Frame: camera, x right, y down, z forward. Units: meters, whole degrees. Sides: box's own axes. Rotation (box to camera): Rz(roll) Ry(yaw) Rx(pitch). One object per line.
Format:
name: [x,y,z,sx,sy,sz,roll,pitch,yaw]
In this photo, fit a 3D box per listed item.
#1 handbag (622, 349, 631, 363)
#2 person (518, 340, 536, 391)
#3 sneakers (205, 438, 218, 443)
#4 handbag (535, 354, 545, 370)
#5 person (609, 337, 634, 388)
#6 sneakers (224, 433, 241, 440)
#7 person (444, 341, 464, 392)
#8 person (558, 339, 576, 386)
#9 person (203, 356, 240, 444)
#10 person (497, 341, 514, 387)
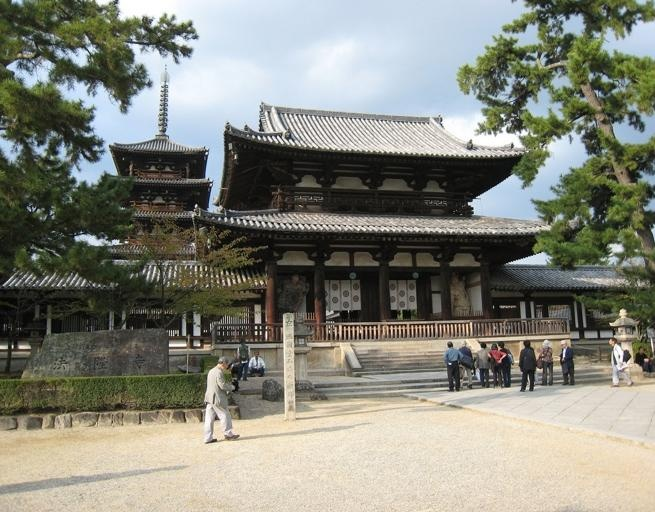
handbag: [10.789,3.611,21.430,0.160,0.513,0.355,0,-3,-10]
person: [6.488,3.546,19.371,0.527,1.615,1.448,-5,-11,19]
sneakers: [-2.550,4.089,13.202,0.197,0.090,0.355,-8,-12,31]
handbag: [7.268,3.616,20.323,0.161,0.480,0.331,-3,-5,24]
person: [10.167,3.639,20.646,0.663,1.635,2.663,-6,-11,25]
sneakers: [-2.144,4.069,13.395,0.358,0.174,0.122,2,-5,-16]
person: [4.159,3.633,19.557,0.494,1.567,0.961,-4,-10,15]
person: [8.367,3.699,20.790,0.384,1.534,1.811,-5,-11,20]
person: [-2.485,3.291,13.779,0.737,1.865,1.060,0,-10,-9]
person: [6.012,3.655,20.022,0.412,1.501,0.910,-4,-10,17]
